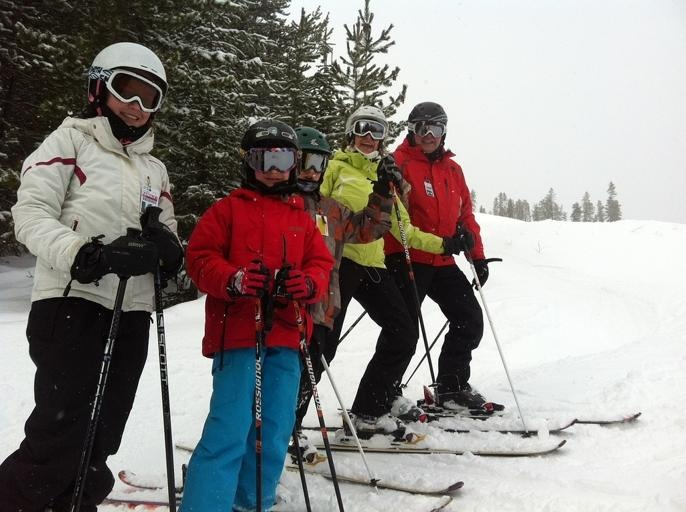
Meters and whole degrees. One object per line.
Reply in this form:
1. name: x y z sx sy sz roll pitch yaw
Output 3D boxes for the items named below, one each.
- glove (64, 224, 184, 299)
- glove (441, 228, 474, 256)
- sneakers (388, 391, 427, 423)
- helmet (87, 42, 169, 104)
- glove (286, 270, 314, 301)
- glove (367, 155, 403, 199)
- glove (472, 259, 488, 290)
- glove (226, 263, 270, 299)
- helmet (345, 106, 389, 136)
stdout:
1. glove: -1.409 -0.016 3.968 0.535 0.304 0.427 -19 12 -6
2. glove: 1.160 -0.131 6.137 0.342 0.209 0.147 -28 34 -30
3. sneakers: 0.604 1.445 5.791 0.300 0.147 0.246 25 -11 37
4. helmet: -1.550 -1.316 4.304 0.408 0.411 0.468 9 15 -45
5. glove: -0.293 0.207 4.249 0.151 0.246 0.273 1 8 14
6. glove: 0.458 -0.735 5.706 0.182 0.413 0.308 14 23 -48
7. glove: 1.498 0.190 6.610 0.196 0.286 0.083 -2 1 -38
8. glove: -0.630 0.170 4.059 0.201 0.271 0.262 -8 10 -44
9. helmet: 0.225 -1.242 5.927 0.268 0.311 0.352 11 -12 -16
